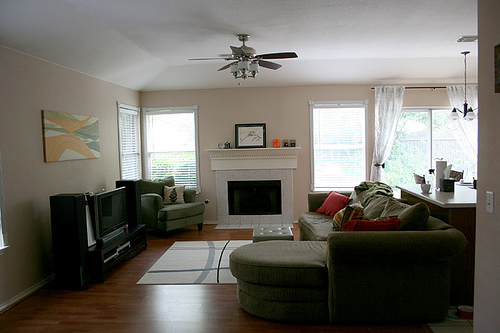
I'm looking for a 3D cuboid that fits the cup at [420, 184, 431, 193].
[{"bbox_3d":[2.488,0.315,5.071,0.120,0.085,0.115,1,-6,0],"label":"cup"}]

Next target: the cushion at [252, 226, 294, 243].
[{"bbox_3d":[0.354,1.053,5.745,0.598,0.091,0.683,-2,10,2],"label":"cushion"}]

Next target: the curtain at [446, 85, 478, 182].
[{"bbox_3d":[4.565,-0.711,7.750,0.628,2.053,0.324,0,11,16],"label":"curtain"}]

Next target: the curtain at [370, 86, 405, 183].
[{"bbox_3d":[2.953,-0.697,7.839,0.792,2.066,0.378,-9,12,-26],"label":"curtain"}]

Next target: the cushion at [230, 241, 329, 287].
[{"bbox_3d":[0.354,1.188,4.476,1.194,0.373,0.655,-2,10,7],"label":"cushion"}]

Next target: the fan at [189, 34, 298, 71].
[{"bbox_3d":[-0.121,-1.721,5.420,1.456,0.376,1.551,-3,4,-12],"label":"fan"}]

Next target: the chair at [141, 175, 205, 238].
[{"bbox_3d":[-1.727,0.764,7.498,1.135,0.912,1.186,8,7,39],"label":"chair"}]

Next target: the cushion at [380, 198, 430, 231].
[{"bbox_3d":[2.065,0.620,4.797,0.383,0.365,1.074,-6,4,0],"label":"cushion"}]

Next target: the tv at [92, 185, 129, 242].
[{"bbox_3d":[-2.398,0.754,5.732,0.520,0.760,0.963,-1,5,6],"label":"tv"}]

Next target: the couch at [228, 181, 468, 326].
[{"bbox_3d":[1.231,1.098,4.732,2.555,1.344,1.458,-3,10,1],"label":"couch"}]

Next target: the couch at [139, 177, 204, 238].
[{"bbox_3d":[-1.646,0.826,7.560,1.213,1.110,1.298,-1,-1,32],"label":"couch"}]

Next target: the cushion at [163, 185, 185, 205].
[{"bbox_3d":[-1.592,0.620,7.476,0.409,0.327,0.144,-1,-11,-4],"label":"cushion"}]
